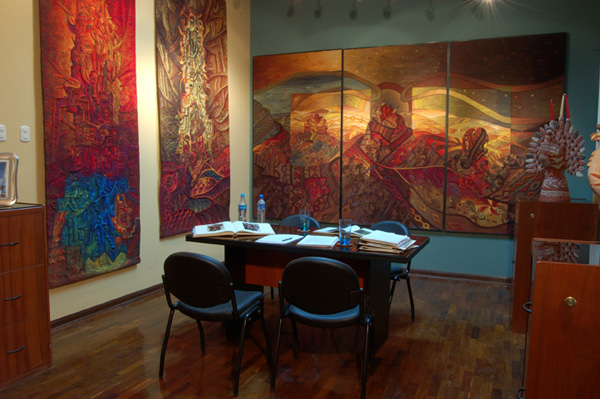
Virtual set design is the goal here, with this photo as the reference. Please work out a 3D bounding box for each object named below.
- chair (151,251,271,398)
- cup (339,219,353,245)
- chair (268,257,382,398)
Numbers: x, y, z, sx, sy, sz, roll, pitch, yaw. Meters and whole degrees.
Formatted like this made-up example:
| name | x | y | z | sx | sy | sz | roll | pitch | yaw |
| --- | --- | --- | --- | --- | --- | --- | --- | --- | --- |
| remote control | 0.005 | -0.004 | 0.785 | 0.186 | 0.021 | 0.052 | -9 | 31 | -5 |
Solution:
| name | x | y | z | sx | sy | sz | roll | pitch | yaw |
| --- | --- | --- | --- | --- | --- | --- | --- | --- | --- |
| chair | -0.718 | 0.923 | 3.758 | 0.784 | 1.117 | 0.606 | 8 | 17 | 28 |
| cup | 0.399 | 0.289 | 3.994 | 0.110 | 0.227 | 0.219 | 1 | 14 | 3 |
| chair | 0.245 | 0.932 | 3.908 | 1.044 | 1.504 | 1.039 | 2 | 8 | 15 |
